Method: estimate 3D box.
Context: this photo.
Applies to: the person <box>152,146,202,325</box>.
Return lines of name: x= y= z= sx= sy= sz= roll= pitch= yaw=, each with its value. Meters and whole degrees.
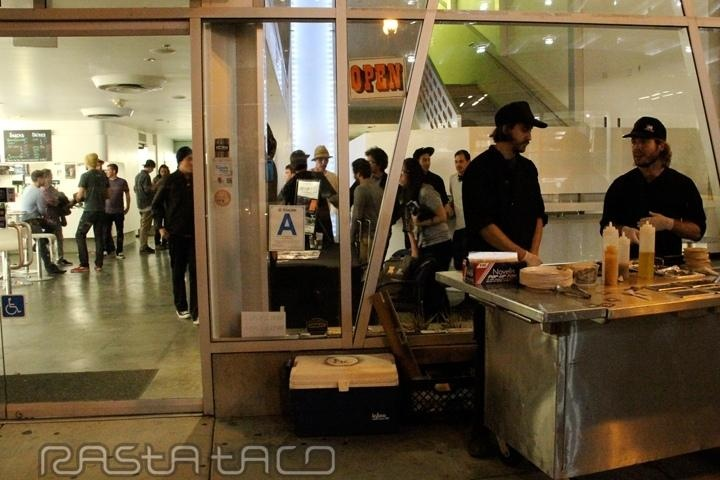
person: x=-2.003 y=-0.033 z=6.879 sx=0.413 sy=1.306 sz=0.854 roll=-3 pitch=2 yaw=-20

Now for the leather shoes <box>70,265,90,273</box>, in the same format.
leather shoes: x=-3.022 y=0.300 z=6.840 sx=0.254 sy=0.089 sz=0.083 roll=3 pitch=-1 yaw=-33

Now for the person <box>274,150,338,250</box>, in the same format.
person: x=-0.410 y=-0.339 z=5.257 sx=0.532 sy=0.743 sz=0.198 roll=-11 pitch=23 yaw=-8

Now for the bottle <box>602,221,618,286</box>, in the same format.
bottle: x=1.748 y=0.097 z=4.439 sx=0.097 sy=0.423 sz=0.064 roll=-2 pitch=2 yaw=10

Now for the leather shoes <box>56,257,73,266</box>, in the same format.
leather shoes: x=-3.007 y=0.208 z=6.458 sx=0.089 sy=0.061 sz=0.155 roll=2 pitch=6 yaw=1

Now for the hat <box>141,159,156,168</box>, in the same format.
hat: x=-2.343 y=-0.858 z=7.070 sx=0.079 sy=0.093 sz=0.110 roll=14 pitch=17 yaw=28

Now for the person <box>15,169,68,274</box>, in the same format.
person: x=-2.948 y=-0.144 z=5.819 sx=0.222 sy=0.775 sz=0.762 roll=-3 pitch=2 yaw=-24

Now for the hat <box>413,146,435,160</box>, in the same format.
hat: x=0.533 y=-0.725 z=5.256 sx=0.144 sy=0.099 sz=0.046 roll=-14 pitch=48 yaw=-1

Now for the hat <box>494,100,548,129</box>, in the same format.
hat: x=1.263 y=-1.015 z=5.080 sx=0.342 sy=0.168 sz=0.216 roll=-2 pitch=13 yaw=7

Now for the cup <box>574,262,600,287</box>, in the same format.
cup: x=1.603 y=0.241 z=4.561 sx=0.148 sy=0.153 sz=0.178 roll=3 pitch=-11 yaw=-11

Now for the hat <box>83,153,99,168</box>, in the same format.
hat: x=-2.569 y=-0.763 z=6.105 sx=0.105 sy=0.125 sz=0.127 roll=10 pitch=30 yaw=-22

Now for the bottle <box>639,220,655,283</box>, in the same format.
bottle: x=2.057 y=0.074 z=4.561 sx=0.110 sy=0.411 sz=0.122 roll=-2 pitch=2 yaw=12

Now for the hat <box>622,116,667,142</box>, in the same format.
hat: x=2.336 y=-0.892 z=5.213 sx=0.302 sy=0.151 sz=0.206 roll=4 pitch=5 yaw=-9

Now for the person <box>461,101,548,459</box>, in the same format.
person: x=1.156 y=0.234 z=5.029 sx=0.639 sy=2.652 sz=1.027 roll=-2 pitch=2 yaw=16

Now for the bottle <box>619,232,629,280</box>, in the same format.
bottle: x=1.883 y=0.113 z=4.541 sx=0.067 sy=0.319 sz=0.041 roll=-2 pitch=2 yaw=4

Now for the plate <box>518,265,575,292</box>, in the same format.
plate: x=1.297 y=0.254 z=4.419 sx=0.355 sy=0.145 sz=0.293 roll=-1 pitch=2 yaw=19
